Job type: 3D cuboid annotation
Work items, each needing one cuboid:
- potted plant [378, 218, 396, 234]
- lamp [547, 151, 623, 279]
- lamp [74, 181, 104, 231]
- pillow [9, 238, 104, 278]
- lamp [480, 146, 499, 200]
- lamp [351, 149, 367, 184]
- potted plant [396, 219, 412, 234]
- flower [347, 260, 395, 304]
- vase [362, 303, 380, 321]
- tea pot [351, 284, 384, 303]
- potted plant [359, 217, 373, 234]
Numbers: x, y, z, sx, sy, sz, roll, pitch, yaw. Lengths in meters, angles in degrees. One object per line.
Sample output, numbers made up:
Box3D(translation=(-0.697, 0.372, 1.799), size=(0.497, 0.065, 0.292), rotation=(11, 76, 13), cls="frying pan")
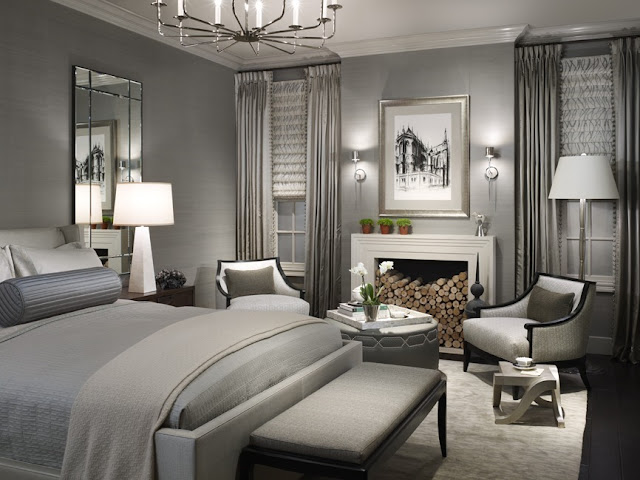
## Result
Box3D(translation=(0.864, -0.175, 5.964), size=(0.182, 0.200, 0.192), rotation=(-1, -1, 26), cls="potted plant")
Box3D(translation=(2.909, -0.264, 5.114), size=(0.625, 1.349, 0.793), rotation=(3, 6, 34), cls="lamp")
Box3D(translation=(-2.430, -0.381, 4.849), size=(0.335, 0.485, 0.338), rotation=(5, 8, 35), cls="lamp")
Box3D(translation=(-2.139, 0.140, 3.690), size=(0.342, 0.112, 0.335), rotation=(-2, 28, -40), cls="pillow")
Box3D(translation=(2.073, -0.807, 5.601), size=(0.177, 0.617, 0.081), rotation=(1, 5, 14), cls="lamp")
Box3D(translation=(0.517, -0.962, 6.105), size=(0.205, 0.422, 0.138), rotation=(1, 5, 12), cls="lamp")
Box3D(translation=(1.074, -0.168, 5.909), size=(0.178, 0.196, 0.189), rotation=(1, -4, 2), cls="potted plant")
Box3D(translation=(0.478, 0.476, 4.703), size=(0.446, 0.583, 0.543), rotation=(0, -2, 31), cls="flower")
Box3D(translation=(0.484, 0.667, 4.376), size=(0.137, 0.157, 0.143), rotation=(3, 1, 13), cls="vase")
Box3D(translation=(0.460, 0.528, 4.591), size=(0.261, 0.157, 0.342), rotation=(1, -1, -5), cls="tea pot")
Box3D(translation=(0.635, -0.191, 6.029), size=(0.179, 0.196, 0.176), rotation=(2, -2, -41), cls="potted plant")
